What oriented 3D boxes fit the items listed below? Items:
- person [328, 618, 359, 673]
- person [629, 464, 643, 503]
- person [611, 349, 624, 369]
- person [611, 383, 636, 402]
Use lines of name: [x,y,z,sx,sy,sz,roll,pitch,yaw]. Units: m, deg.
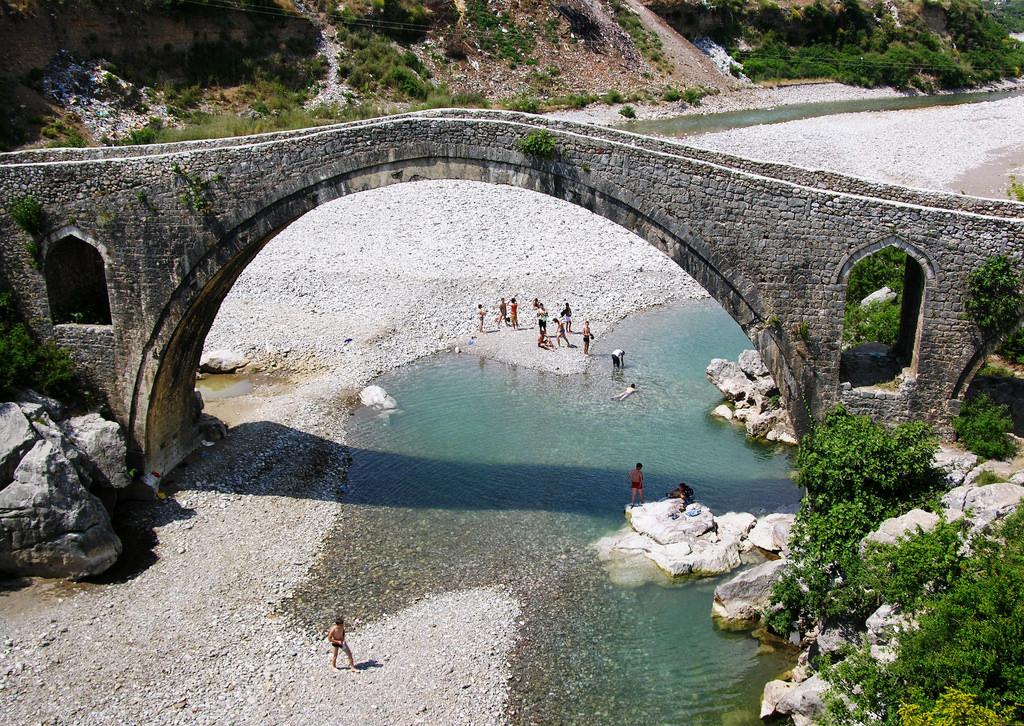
person: [-4.796,8.056,22.933,0.814,1.480,0.524,20,45,25]
person: [4.477,4.053,28.800,0.514,1.729,1.361,-2,24,8]
person: [5.215,-0.363,39.556,0.598,0.888,1.543,-2,24,8]
person: [5.137,1.379,36.538,0.647,0.255,0.932,16,34,36]
